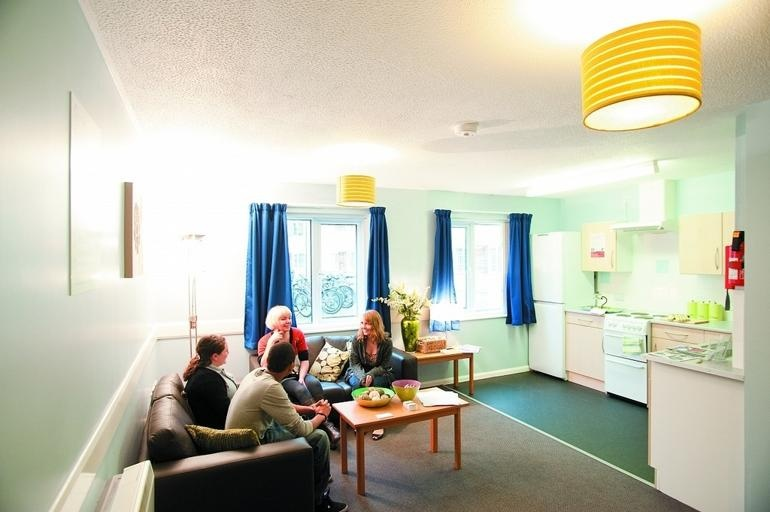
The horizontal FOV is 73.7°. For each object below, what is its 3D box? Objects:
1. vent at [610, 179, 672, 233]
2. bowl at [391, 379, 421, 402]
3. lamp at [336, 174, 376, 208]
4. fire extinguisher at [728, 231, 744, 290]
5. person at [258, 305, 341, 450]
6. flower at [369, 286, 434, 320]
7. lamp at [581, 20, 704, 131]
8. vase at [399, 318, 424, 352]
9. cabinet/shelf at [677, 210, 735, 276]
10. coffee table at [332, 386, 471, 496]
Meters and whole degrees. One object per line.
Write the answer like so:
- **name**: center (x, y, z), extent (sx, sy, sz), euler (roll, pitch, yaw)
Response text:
- **vent**: center (3.246, -0.615, 6.327), extent (0.517, 0.567, 0.625), euler (-2, 2, -28)
- **bowl**: center (0.199, 1.227, 4.736), extent (0.219, 0.132, 0.213), euler (-1, -6, 0)
- **lamp**: center (-0.289, -0.634, 5.125), extent (0.332, 0.202, 0.322), euler (1, 0, -2)
- **fire extinguisher**: center (2.816, 0.020, 4.123), extent (0.099, 0.458, 0.267), euler (3, 7, 29)
- **person**: center (-0.887, 1.194, 5.288), extent (0.580, 1.347, 1.246), euler (-7, -2, -33)
- **flower**: center (0.299, 0.606, 6.700), extent (0.467, 0.469, 0.861), euler (5, 8, 44)
- **lamp**: center (1.416, -0.993, 2.930), extent (0.634, 0.379, 0.616), euler (-1, 0, -4)
- **vase**: center (0.331, 0.978, 6.460), extent (0.359, 0.539, 0.349), euler (0, 0, 18)
- **cabinet/shelf**: center (3.462, -0.138, 5.511), extent (0.296, 0.702, 0.748), euler (1, -3, -24)
- **coffee table**: center (0.110, 1.606, 4.698), extent (1.027, 0.682, 0.580), euler (-3, 7, -23)
